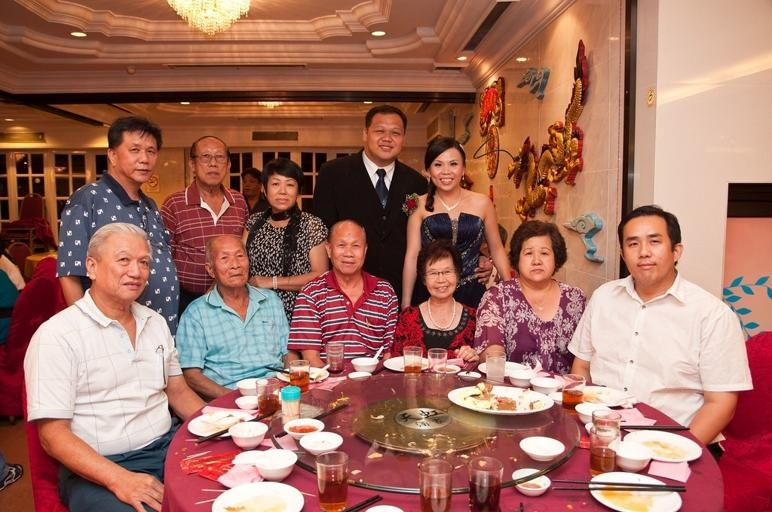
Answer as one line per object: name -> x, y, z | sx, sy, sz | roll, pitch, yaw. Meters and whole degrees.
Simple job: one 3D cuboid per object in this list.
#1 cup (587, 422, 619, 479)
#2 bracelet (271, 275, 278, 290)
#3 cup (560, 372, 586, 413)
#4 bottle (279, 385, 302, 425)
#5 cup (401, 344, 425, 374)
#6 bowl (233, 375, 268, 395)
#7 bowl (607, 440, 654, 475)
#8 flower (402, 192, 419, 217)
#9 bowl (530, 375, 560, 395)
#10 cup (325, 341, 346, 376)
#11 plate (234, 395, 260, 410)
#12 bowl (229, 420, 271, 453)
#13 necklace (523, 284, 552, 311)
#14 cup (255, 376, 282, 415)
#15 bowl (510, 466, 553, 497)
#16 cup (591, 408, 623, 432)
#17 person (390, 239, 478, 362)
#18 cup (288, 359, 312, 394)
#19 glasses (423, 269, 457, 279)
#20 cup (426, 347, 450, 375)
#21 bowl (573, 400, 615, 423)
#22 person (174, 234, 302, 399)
cup -> 0.932, 0.832, 2.373 | 0.112, 0.203, 0.116 | -1, 7, 0
bracelet -> -0.789, 0.193, 3.927 | 0.064, 0.064, 0.063 | -1, -30, -7
cup -> 0.939, 0.696, 2.787 | 0.099, 0.158, 0.161 | 5, -7, 24
bottle -> -0.462, 0.726, 2.650 | 0.108, 0.160, 0.108 | -2, -7, 0
cup -> 0.141, 0.581, 3.126 | 0.130, 0.144, 0.133 | 0, -4, 0
bowl -> -0.698, 0.659, 2.861 | 0.171, 0.065, 0.142 | 1, 9, -9
bowl -> 1.063, 0.867, 2.403 | 0.151, 0.068, 0.152 | -1, -1, 0
flower -> 0.186, -0.395, 4.333 | 0.061, 0.145, 0.153 | 18, -14, -28
bowl -> 0.835, 0.671, 2.896 | 0.096, 0.035, 0.096 | -4, 14, 1
cup -> -0.293, 0.584, 3.166 | 0.108, 0.164, 0.108 | 0, -4, 0
plate -> -0.694, 0.731, 2.805 | 0.079, 0.028, 0.078 | -3, 14, -16
bowl -> -0.628, 0.813, 2.513 | 0.121, 0.051, 0.119 | 1, 8, 0
necklace -> 0.969, 0.272, 3.569 | 0.117, 0.163, 0.061 | -10, -14, -1
cup -> -0.574, 0.707, 2.771 | 0.123, 0.159, 0.153 | 1, 4, 21
bowl -> 0.593, 0.924, 2.286 | 0.107, 0.039, 0.108 | -9, 18, 3
cup -> 0.987, 0.715, 2.475 | 0.107, 0.118, 0.124 | 0, -4, 2
person -> 0.351, 0.396, 3.737 | 0.665, 0.857, 0.480 | 5, -9, -4
cup -> -0.443, 0.639, 2.944 | 0.086, 0.132, 0.137 | -1, -5, 10
glasses -> 0.356, 0.125, 3.663 | 0.210, 0.053, 0.076 | 0, 7, 6
cup -> 0.290, 0.590, 3.124 | 0.111, 0.123, 0.113 | 0, -6, 0
bowl -> 0.988, 0.746, 2.695 | 0.114, 0.040, 0.112 | 0, 3, 0
person -> -0.884, 0.390, 3.463 | 0.798, 1.000, 0.789 | -6, 2, -19
